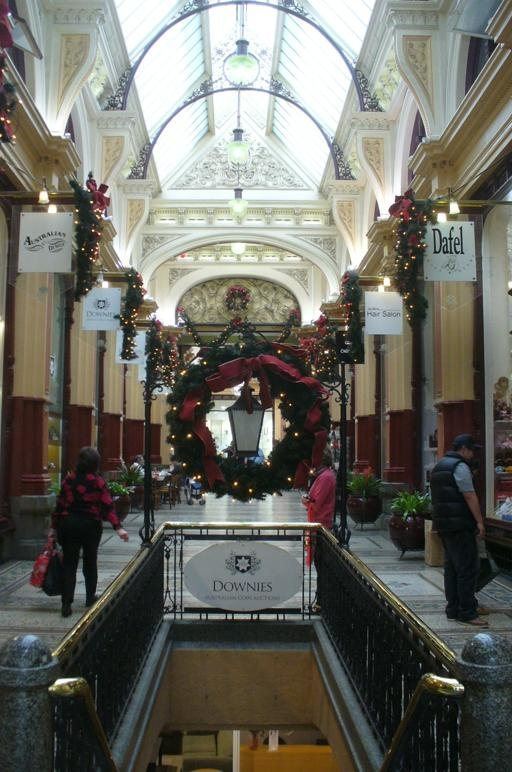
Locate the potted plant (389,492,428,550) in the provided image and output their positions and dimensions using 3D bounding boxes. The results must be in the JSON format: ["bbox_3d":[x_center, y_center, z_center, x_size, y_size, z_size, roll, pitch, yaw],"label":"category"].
[{"bbox_3d":[1.872,1.827,7.957,0.428,0.537,0.418,9,-16,-30],"label":"potted plant"}]

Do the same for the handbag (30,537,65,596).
[{"bbox_3d":[-1.659,1.448,5.057,0.226,0.514,0.534,1,-7,-19],"label":"handbag"}]

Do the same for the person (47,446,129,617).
[{"bbox_3d":[-1.328,1.138,4.994,0.524,1.306,0.630,1,-7,-18],"label":"person"}]

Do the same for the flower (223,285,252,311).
[{"bbox_3d":[-0.700,-3.197,23.686,0.937,0.962,0.458,-2,-6,5],"label":"flower"}]

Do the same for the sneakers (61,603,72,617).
[{"bbox_3d":[-1.476,1.749,4.953,0.049,0.101,0.137,0,-8,2],"label":"sneakers"}]

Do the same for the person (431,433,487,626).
[{"bbox_3d":[1.520,1.074,4.807,0.355,1.394,0.482,-3,-7,14],"label":"person"}]

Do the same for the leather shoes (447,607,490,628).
[{"bbox_3d":[1.605,1.733,4.811,0.126,0.164,0.374,10,-18,-43],"label":"leather shoes"}]
